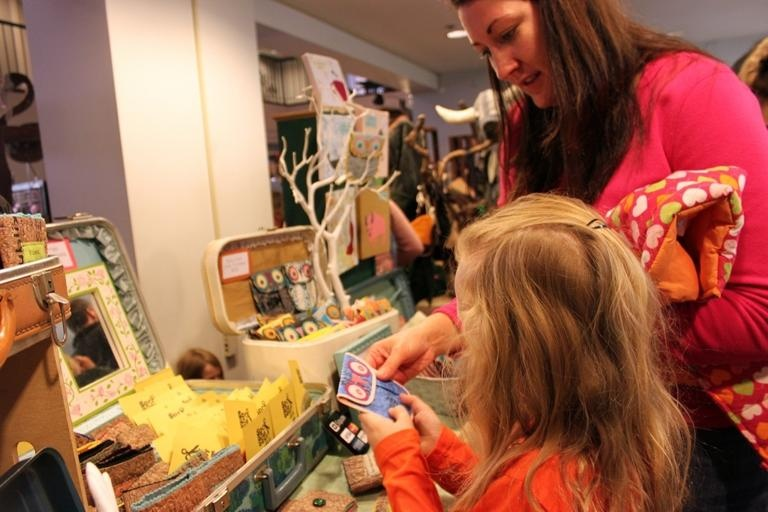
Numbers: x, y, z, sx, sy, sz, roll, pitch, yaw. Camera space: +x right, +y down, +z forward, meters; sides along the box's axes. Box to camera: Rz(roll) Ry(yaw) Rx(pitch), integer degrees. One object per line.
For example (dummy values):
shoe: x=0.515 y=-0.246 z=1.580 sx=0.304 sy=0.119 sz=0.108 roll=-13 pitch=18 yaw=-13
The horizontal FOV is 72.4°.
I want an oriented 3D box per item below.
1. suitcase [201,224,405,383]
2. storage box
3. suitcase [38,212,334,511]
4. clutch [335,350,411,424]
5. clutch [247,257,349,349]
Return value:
suitcase: x=-0.305 y=0.164 z=1.963 sx=0.661 sy=0.571 sz=0.559 roll=-5 pitch=-2 yaw=-43
storage box: x=-0.305 y=0.184 z=1.964 sx=0.575 sy=0.557 sz=0.637 roll=-5 pitch=2 yaw=20
suitcase: x=-0.609 y=0.323 z=1.753 sx=0.810 sy=0.790 sz=0.858 roll=2 pitch=11 yaw=17
clutch: x=-0.029 y=0.346 z=1.326 sx=0.206 sy=0.044 sz=0.188 roll=27 pitch=26 yaw=5
clutch: x=-0.374 y=0.173 z=2.019 sx=0.335 sy=0.339 sz=0.268 roll=-19 pitch=7 yaw=-42
